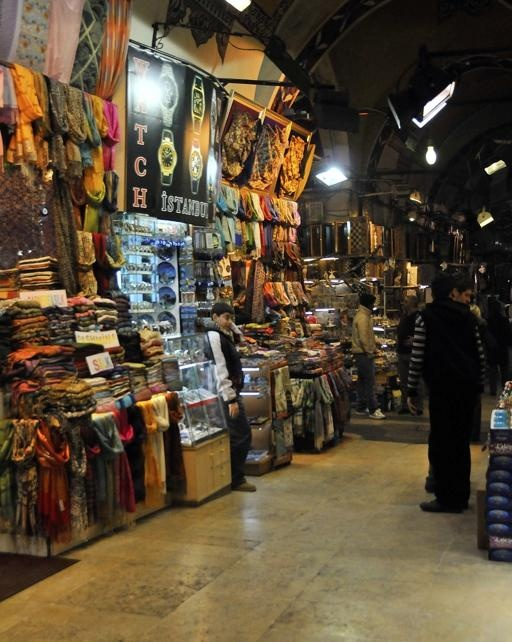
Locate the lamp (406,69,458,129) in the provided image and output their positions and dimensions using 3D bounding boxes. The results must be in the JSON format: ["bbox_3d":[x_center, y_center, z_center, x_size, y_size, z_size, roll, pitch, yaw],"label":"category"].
[{"bbox_3d":[2.273,-2.868,6.854,0.576,0.621,0.609,-5,-8,23],"label":"lamp"}]

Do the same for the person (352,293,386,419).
[{"bbox_3d":[1.787,0.601,8.573,0.452,1.982,0.986,-3,-7,12],"label":"person"}]

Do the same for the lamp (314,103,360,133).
[{"bbox_3d":[0.988,-2.529,6.581,0.529,0.305,0.253,-2,-7,1],"label":"lamp"}]

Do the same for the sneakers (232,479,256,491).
[{"bbox_3d":[-0.098,1.528,4.905,0.223,0.086,0.080,-1,-3,10],"label":"sneakers"}]

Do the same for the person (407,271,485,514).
[{"bbox_3d":[1.399,0.535,3.912,0.548,1.776,0.342,-4,-8,20],"label":"person"}]

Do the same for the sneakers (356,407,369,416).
[{"bbox_3d":[1.810,1.549,9.041,0.137,0.136,0.339,0,-9,7],"label":"sneakers"}]

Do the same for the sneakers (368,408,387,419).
[{"bbox_3d":[1.967,1.530,8.657,0.127,0.120,0.257,5,-11,-15],"label":"sneakers"}]

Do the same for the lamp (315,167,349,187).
[{"bbox_3d":[1.411,-2.693,9.855,0.509,0.130,0.542,4,-9,-41],"label":"lamp"}]

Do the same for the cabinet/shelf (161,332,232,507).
[{"bbox_3d":[-0.489,0.928,4.583,0.305,1.203,0.677,-4,-7,15],"label":"cabinet/shelf"}]
